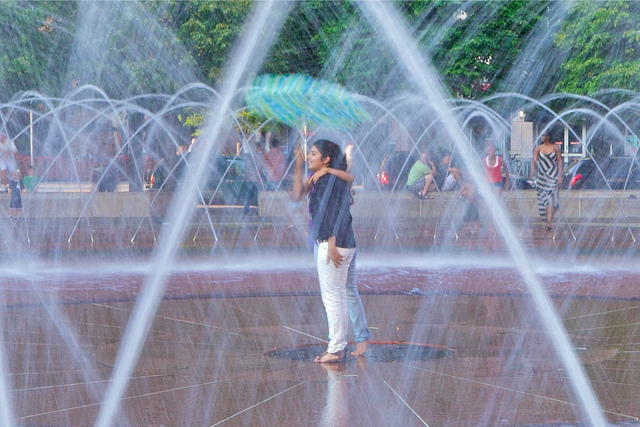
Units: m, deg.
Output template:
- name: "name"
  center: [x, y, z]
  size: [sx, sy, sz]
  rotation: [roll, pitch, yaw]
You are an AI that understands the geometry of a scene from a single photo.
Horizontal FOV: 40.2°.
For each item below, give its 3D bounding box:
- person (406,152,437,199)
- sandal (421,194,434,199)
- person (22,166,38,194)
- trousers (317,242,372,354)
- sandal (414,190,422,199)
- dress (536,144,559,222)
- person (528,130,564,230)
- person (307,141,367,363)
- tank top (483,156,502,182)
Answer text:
- name: "person"
  center: [2.785, -1.021, 24.170]
  size: [0.732, 1.210, 1.351]
  rotation: [1, 8, 6]
- name: "sandal"
  center: [2.954, -0.456, 24.065]
  size: [0.347, 0.122, 0.299]
  rotation: [2, 7, 15]
- name: "person"
  center: [-8.490, -0.931, 25.652]
  size: [0.382, 0.762, 0.621]
  rotation: [-3, 8, -18]
- name: "trousers"
  center: [0.290, 0.973, 10.350]
  size: [0.579, 1.299, 0.378]
  rotation: [-5, 10, -28]
- name: "sandal"
  center: [2.641, -0.504, 24.014]
  size: [0.043, 0.177, 0.177]
  rotation: [-43, 5, -16]
- name: "dress"
  center: [5.106, -0.679, 19.752]
  size: [0.510, 1.737, 0.991]
  rotation: [2, 8, 13]
- name: "person"
  center: [5.074, -0.706, 19.720]
  size: [0.643, 2.328, 1.151]
  rotation: [2, 8, 13]
- name: "person"
  center: [0.218, 0.650, 10.285]
  size: [0.670, 2.137, 0.493]
  rotation: [-1, 9, -9]
- name: "tank top"
  center: [3.867, -0.992, 19.706]
  size: [0.400, 0.579, 0.363]
  rotation: [1, 8, 9]
